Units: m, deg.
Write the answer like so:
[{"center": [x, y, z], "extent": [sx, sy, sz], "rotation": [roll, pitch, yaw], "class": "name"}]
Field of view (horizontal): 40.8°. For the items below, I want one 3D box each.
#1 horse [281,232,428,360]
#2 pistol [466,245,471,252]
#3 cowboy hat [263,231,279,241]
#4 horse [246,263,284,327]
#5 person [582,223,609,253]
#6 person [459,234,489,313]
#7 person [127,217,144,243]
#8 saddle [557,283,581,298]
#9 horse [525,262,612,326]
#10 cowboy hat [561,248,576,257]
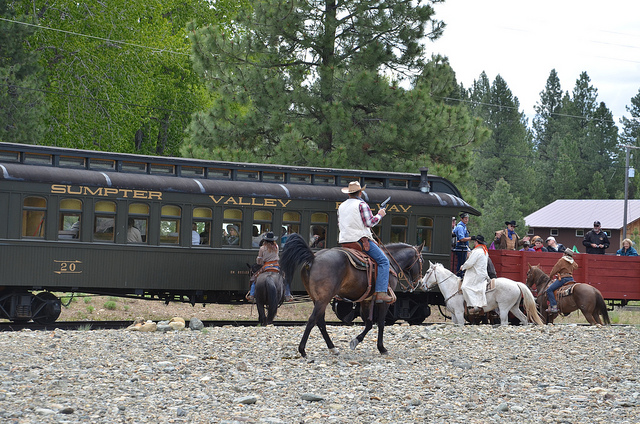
[{"center": [0.964, 2.171, 21.963], "extent": [4.369, 3.152, 1.075], "rotation": [8, -10, -30], "class": "horse"}, {"center": [5.249, 1.299, 30.519], "extent": [0.093, 0.311, 0.691], "rotation": [4, 9, 16], "class": "pistol"}, {"center": [-1.513, 0.731, 25.822], "extent": [0.316, 0.290, 0.510], "rotation": [0, 9, -9], "class": "cowboy hat"}, {"center": [-1.529, 2.655, 25.783], "extent": [0.835, 1.701, 0.828], "rotation": [1, 9, -5], "class": "horse"}, {"center": [10.306, 0.998, 32.227], "extent": [0.853, 1.266, 1.037], "rotation": [3, 9, 10], "class": "person"}, {"center": [4.894, 1.885, 27.223], "extent": [0.883, 2.411, 1.547], "rotation": [3, 9, 10], "class": "person"}, {"center": [-5.745, 0.564, 26.715], "extent": [0.454, 0.783, 0.257], "rotation": [0, 9, -13], "class": "person"}, {"center": [7.763, 2.472, 26.794], "extent": [0.617, 0.240, 0.425], "rotation": [-1, -11, -30], "class": "saddle"}, {"center": [7.771, 2.982, 27.409], "extent": [3.005, 2.275, 0.778], "rotation": [4, 3, 40], "class": "horse"}, {"center": [8.380, 1.392, 29.150], "extent": [0.546, 0.166, 0.566], "rotation": [19, -3, 33], "class": "cowboy hat"}]
